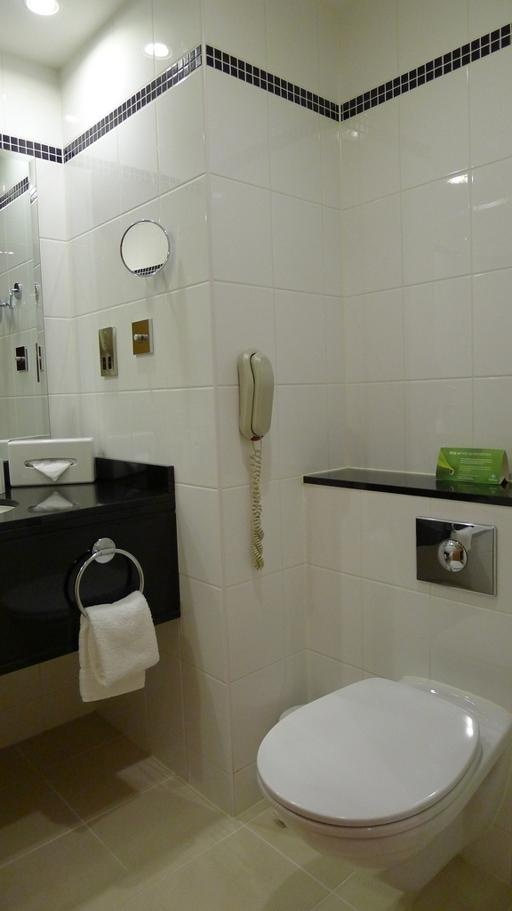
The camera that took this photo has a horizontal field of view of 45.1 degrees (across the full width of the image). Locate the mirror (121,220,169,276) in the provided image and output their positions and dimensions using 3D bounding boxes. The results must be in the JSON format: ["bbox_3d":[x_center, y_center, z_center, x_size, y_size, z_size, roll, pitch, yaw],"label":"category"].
[{"bbox_3d":[-0.275,-0.514,1.536,0.119,0.147,0.006,15,20,35],"label":"mirror"}]

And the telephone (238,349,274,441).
[{"bbox_3d":[-0.005,-0.142,1.468,0.049,0.212,0.075,0,0,34],"label":"telephone"}]

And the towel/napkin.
[{"bbox_3d":[-0.313,0.439,1.385,0.166,0.226,0.097,-6,5,-38],"label":"towel/napkin"}]
